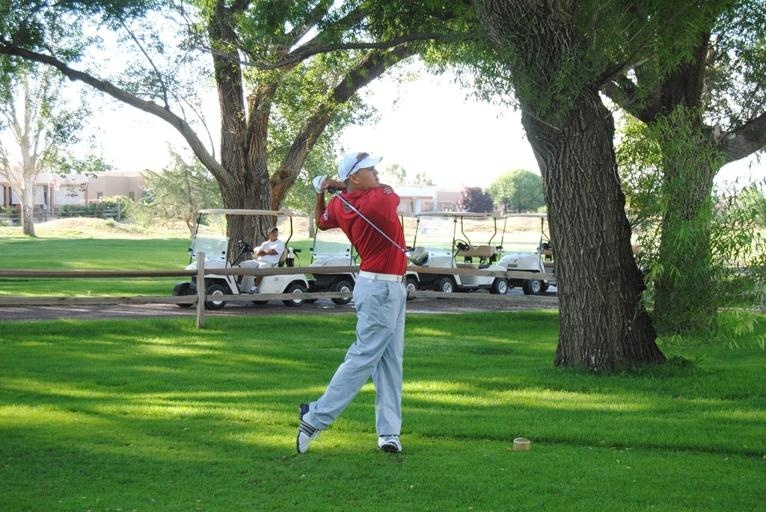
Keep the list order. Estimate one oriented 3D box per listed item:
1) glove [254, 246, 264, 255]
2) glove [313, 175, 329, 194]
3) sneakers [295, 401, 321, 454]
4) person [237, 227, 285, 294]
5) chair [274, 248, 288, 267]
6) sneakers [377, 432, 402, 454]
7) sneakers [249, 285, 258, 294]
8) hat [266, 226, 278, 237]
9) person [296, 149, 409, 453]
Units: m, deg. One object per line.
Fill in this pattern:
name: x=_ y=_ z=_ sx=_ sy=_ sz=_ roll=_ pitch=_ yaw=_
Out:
glove: x=-2.664 y=-0.121 z=19.186 sx=0.209 sy=0.207 sz=0.065 roll=-3 pitch=5 yaw=9
glove: x=-0.679 y=-0.785 z=9.839 sx=0.187 sy=0.231 sz=0.092 roll=1 pitch=4 yaw=13
sneakers: x=-0.828 y=1.807 z=9.363 sx=0.251 sy=0.564 sz=0.192 roll=19 pitch=9 yaw=32
person: x=-2.509 y=0.110 z=18.756 sx=0.852 sy=1.262 sz=1.049 roll=1 pitch=8 yaw=8
chair: x=-2.126 y=0.058 z=18.895 sx=0.338 sy=0.387 sz=0.286 roll=0 pitch=-4 yaw=-5
sneakers: x=0.077 y=1.978 z=9.478 sx=0.256 sy=0.176 sz=0.174 roll=-1 pitch=8 yaw=-6
sneakers: x=-2.638 y=0.702 z=18.622 sx=0.140 sy=0.184 sz=0.194 roll=6 pitch=-9 yaw=-39
hat: x=-2.350 y=-0.556 z=19.202 sx=0.248 sy=0.124 sz=0.371 roll=3 pitch=-9 yaw=-18
person: x=-0.268 y=0.472 z=9.577 sx=1.005 sy=3.130 sz=0.895 roll=0 pitch=8 yaw=0
